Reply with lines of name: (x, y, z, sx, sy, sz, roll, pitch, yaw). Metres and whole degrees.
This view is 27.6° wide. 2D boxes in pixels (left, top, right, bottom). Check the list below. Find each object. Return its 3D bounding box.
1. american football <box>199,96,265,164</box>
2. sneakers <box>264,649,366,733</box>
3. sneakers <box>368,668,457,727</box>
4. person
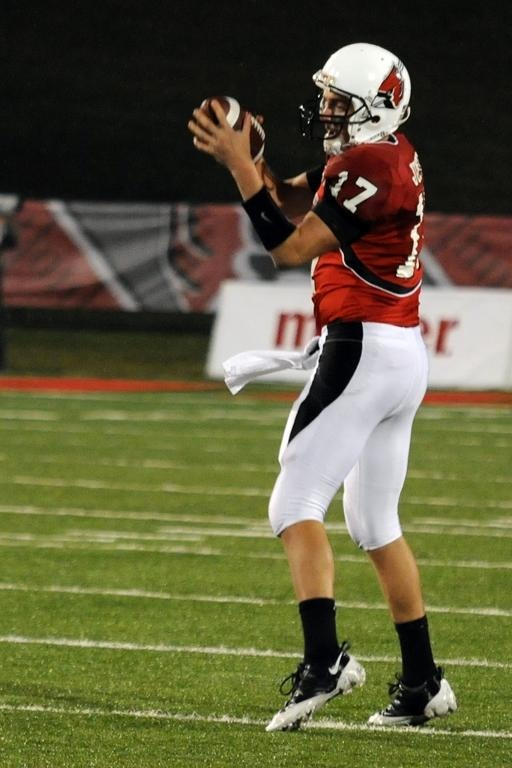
american football: (-0.044, -0.592, 2.400, 0.110, 0.072, 0.216, 14, -4, 37)
sneakers: (0.104, 0.613, 2.126, 0.232, 0.091, 0.074, -26, 14, -28)
sneakers: (0.343, 0.681, 2.248, 0.281, 0.075, 0.124, -6, 13, -13)
person: (0.040, 0.023, 2.295, 0.647, 1.467, 0.701, -10, -14, 38)
